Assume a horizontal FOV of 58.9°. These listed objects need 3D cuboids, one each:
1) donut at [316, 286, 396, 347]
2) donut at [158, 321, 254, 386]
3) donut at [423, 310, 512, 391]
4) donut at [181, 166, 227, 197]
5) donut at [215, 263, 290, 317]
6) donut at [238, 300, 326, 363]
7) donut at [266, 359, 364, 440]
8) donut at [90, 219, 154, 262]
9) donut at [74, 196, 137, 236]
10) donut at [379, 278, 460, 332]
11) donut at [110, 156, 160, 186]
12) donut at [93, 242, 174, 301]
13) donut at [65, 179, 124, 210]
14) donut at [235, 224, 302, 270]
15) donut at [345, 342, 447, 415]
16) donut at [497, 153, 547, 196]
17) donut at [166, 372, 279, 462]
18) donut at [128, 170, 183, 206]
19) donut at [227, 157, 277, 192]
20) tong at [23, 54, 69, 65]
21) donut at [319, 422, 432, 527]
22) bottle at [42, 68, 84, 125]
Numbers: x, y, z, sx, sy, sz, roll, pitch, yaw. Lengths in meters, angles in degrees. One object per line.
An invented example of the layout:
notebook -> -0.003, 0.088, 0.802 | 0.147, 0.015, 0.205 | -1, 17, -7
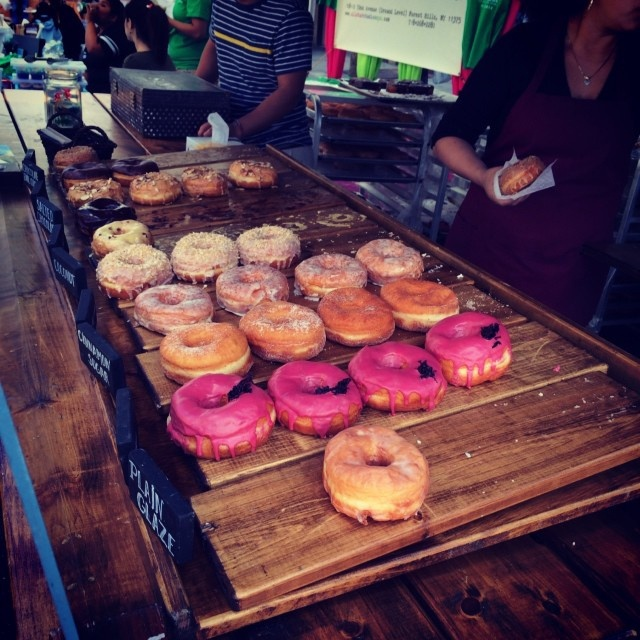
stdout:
donut -> 0.097, -0.022, 1.700 | 0.227, 0.058, 0.182 | -9, 30, -18
donut -> -0.318, 0.078, 1.504 | 0.218, 0.082, 0.201 | -20, 40, -35
donut -> 0.383, 0.073, 1.578 | 0.289, 0.116, 0.248 | 16, 32, 20
donut -> -0.544, -0.635, 2.640 | 0.199, 0.104, 0.113 | -4, 34, -8
donut -> -0.221, -0.121, 1.847 | 0.246, 0.070, 0.228 | 17, 39, 19
donut -> -0.120, 0.008, 1.653 | 0.282, 0.071, 0.226 | 6, 14, -17
donut -> -0.010, 0.172, 1.366 | 0.249, 0.075, 0.193 | 3, 41, 9
donut -> -0.719, -0.312, 2.048 | 0.201, 0.059, 0.170 | -1, 31, -4
donut -> -0.843, -0.425, 2.210 | 0.226, 0.065, 0.178 | 3, 31, -3
donut -> 0.334, -0.025, 1.770 | 0.214, 0.169, 0.063 | -9, 37, 6
donut -> -0.877, -0.709, 2.701 | 0.206, 0.056, 0.171 | 4, 22, 5
donut -> -0.614, -0.173, 1.860 | 0.236, 0.084, 0.202 | 0, 29, -6
donut -> -0.955, -0.553, 2.408 | 0.218, 0.057, 0.190 | 4, 21, 4
donut -> -0.189, -0.278, 2.097 | 0.221, 0.075, 0.192 | 12, 29, 19
donut -> 0.190, 0.135, 1.476 | 0.288, 0.088, 0.245 | -1, 29, -4
donut -> 0.807, -0.598, 2.335 | 0.187, 0.156, 0.165 | 29, 43, 34
donut -> -0.224, 0.205, 1.276 | 0.213, 0.128, 0.217 | -23, 40, -32
donut -> -0.730, -0.607, 2.506 | 0.217, 0.074, 0.176 | 0, 28, -2
donut -> -0.330, -0.728, 2.798 | 0.237, 0.099, 0.245 | 5, 32, 7
tong -> -2.682, -2.540, 5.553 | 0.390, 0.092, 0.628 | -11, 32, -20
donut -> 0.111, 0.305, 1.175 | 0.236, 0.072, 0.218 | 4, 25, 2
bottle -> -1.632, -1.359, 3.542 | 0.246, 0.305, 0.201 | -11, 33, -22
